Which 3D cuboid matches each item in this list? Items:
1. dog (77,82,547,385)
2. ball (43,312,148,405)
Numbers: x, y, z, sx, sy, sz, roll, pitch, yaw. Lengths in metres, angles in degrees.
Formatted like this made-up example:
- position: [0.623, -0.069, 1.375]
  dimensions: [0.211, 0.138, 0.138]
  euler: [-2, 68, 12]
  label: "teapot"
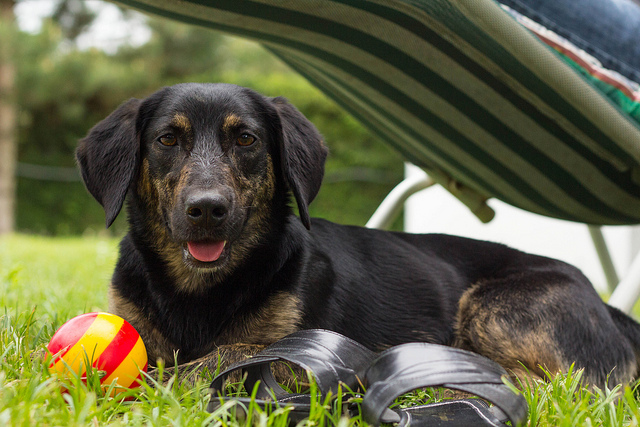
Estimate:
- position: [0.091, -0.003, 5.799]
  dimensions: [3.213, 2.011, 1.827]
  euler: [21, -34, -34]
  label: "dog"
- position: [-1.411, 1.057, 5.228]
  dimensions: [0.571, 0.849, 0.668]
  euler: [3, -8, -2]
  label: "ball"
